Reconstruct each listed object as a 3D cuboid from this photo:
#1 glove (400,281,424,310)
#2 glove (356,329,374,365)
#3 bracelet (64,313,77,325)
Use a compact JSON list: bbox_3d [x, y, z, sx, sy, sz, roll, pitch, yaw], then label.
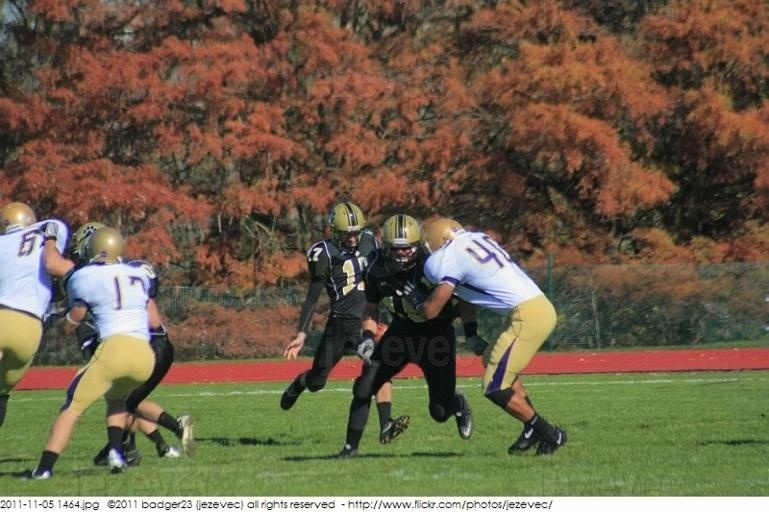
[{"bbox_3d":[0.565,0.737,25.613,0.509,0.348,0.165,42,-25,30],"label":"glove"},{"bbox_3d":[-0.374,1.744,26.017,0.229,0.594,0.344,11,-21,11],"label":"glove"},{"bbox_3d":[-5.962,1.192,25.279,0.211,0.066,0.222,41,-1,-1],"label":"bracelet"}]
